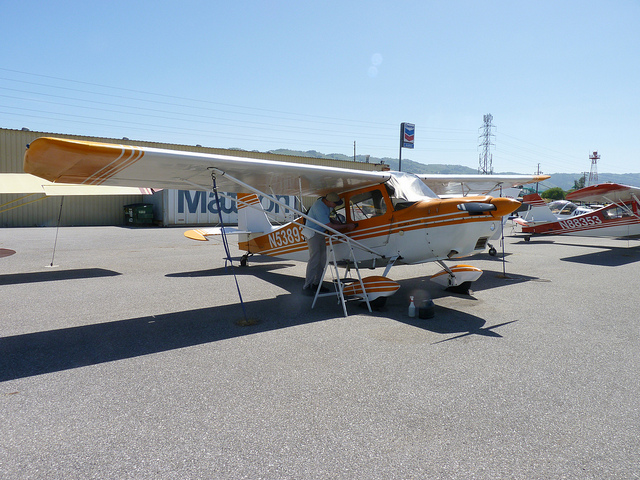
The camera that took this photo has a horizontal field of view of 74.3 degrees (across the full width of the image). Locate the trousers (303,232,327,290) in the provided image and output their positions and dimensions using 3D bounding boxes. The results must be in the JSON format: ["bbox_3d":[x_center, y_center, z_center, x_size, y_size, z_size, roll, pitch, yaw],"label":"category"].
[{"bbox_3d":[-0.071,0.379,7.417,0.412,1.055,0.276,2,15,9],"label":"trousers"}]

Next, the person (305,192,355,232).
[{"bbox_3d":[0.255,-0.513,7.454,1.119,0.582,0.757,9,22,21],"label":"person"}]
